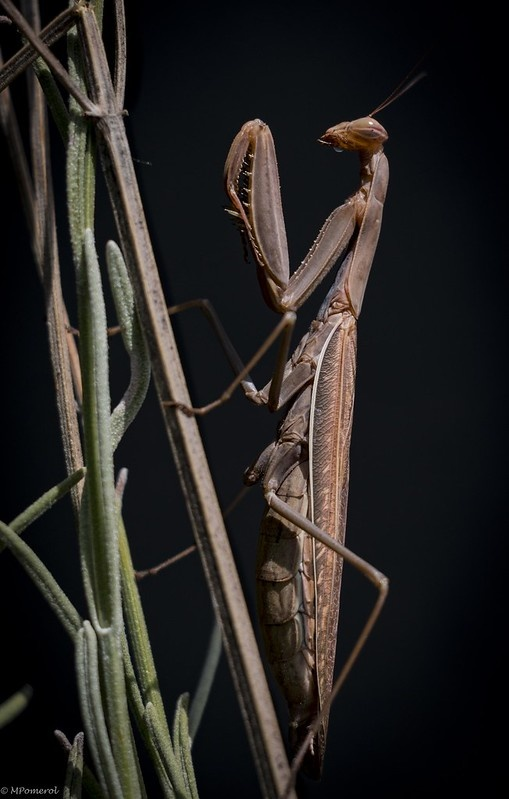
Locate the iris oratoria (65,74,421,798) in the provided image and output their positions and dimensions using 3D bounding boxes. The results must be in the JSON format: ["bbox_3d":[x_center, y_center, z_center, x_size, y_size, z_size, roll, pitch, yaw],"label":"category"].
[{"bbox_3d":[0.056,0.002,1.276,0.225,0.806,0.396,-13,-16,37],"label":"iris oratoria"}]
